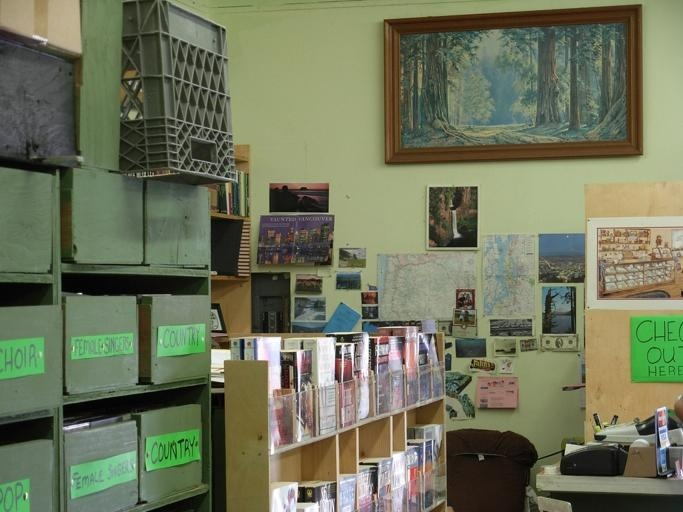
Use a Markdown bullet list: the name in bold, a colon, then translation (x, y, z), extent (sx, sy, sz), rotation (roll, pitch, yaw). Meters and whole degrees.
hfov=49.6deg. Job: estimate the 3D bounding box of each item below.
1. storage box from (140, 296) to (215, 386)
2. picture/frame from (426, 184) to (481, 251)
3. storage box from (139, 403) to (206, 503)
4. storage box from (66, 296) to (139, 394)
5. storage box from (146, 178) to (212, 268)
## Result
- **storage box**: translation (-0.876, 0.414, 3.764), extent (0.382, 0.399, 0.280), rotation (3, -5, -45)
- **picture/frame**: translation (0.903, -0.295, 5.826), extent (0.457, 0.602, 0.025), rotation (0, 0, 7)
- **storage box**: translation (-0.829, 0.963, 3.604), extent (0.223, 0.462, 0.431), rotation (-3, 2, 35)
- **storage box**: translation (-1.200, 0.414, 3.494), extent (0.332, 0.449, 0.456), rotation (-4, -3, 29)
- **storage box**: translation (-0.879, -0.147, 3.785), extent (0.216, 0.424, 0.410), rotation (-2, -3, 43)
